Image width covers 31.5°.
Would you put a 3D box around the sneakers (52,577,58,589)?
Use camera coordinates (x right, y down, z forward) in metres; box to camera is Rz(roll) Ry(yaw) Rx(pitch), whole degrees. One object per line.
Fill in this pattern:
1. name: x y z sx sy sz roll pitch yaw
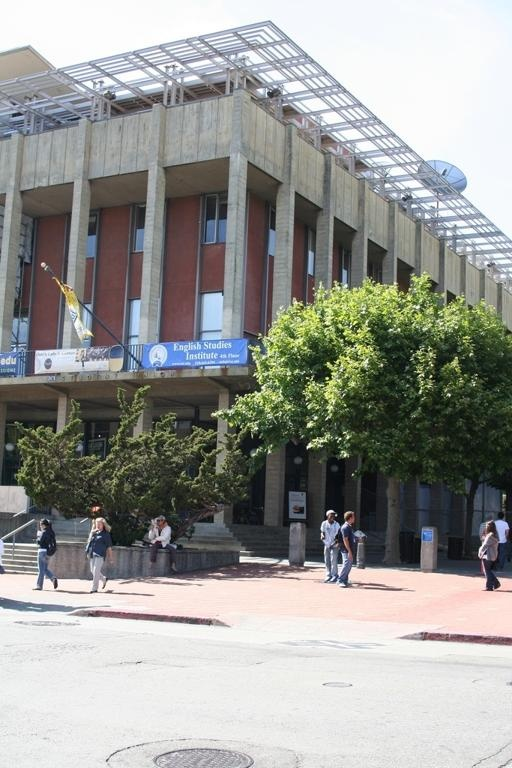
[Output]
1. sneakers: -4.296 4.292 19.420 0.107 0.326 0.135 0 -1 -24

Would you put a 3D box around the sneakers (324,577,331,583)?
1. sneakers: 1.653 4.583 21.104 0.139 0.116 0.403 2 -7 4

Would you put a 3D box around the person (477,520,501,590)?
1. person: 4.954 3.673 19.419 0.534 1.437 0.475 -2 -10 33

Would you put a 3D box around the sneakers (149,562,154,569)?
1. sneakers: -2.586 4.477 22.326 0.151 0.173 0.068 -1 -9 25

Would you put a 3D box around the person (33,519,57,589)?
1. person: -4.534 3.716 19.770 0.497 1.495 1.528 4 -8 -11

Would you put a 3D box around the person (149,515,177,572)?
1. person: -2.301 4.034 22.620 0.437 1.355 0.841 -2 -9 30

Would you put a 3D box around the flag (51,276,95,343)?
1. flag: -7.960 -3.128 39.713 1.189 3.154 0.807 -6 24 45

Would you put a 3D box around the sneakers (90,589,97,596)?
1. sneakers: -3.356 4.299 18.711 0.187 0.120 0.060 2 -15 10
